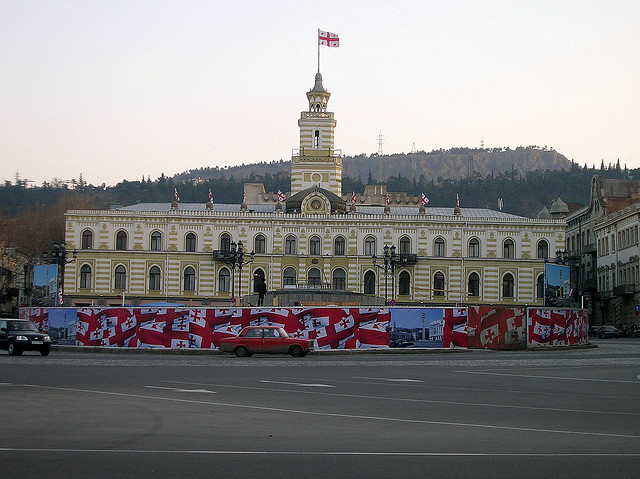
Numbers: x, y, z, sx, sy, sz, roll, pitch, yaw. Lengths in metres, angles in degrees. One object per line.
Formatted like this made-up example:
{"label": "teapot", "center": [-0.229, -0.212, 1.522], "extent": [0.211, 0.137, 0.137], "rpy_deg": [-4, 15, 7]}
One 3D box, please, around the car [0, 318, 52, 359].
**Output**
{"label": "car", "center": [-13.218, 4.325, 57.007], "extent": [1.382, 1.257, 2.852], "rpy_deg": [3, -7, -36]}

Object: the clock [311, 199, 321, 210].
{"label": "clock", "center": [-0.347, -2.798, 100.553], "extent": [0.741, 0.797, 0.108], "rpy_deg": [0, 1, -2]}

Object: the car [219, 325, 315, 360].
{"label": "car", "center": [-2.406, 4.734, 57.294], "extent": [3.404, 1.261, 1.680], "rpy_deg": [-1, -2, 0]}
